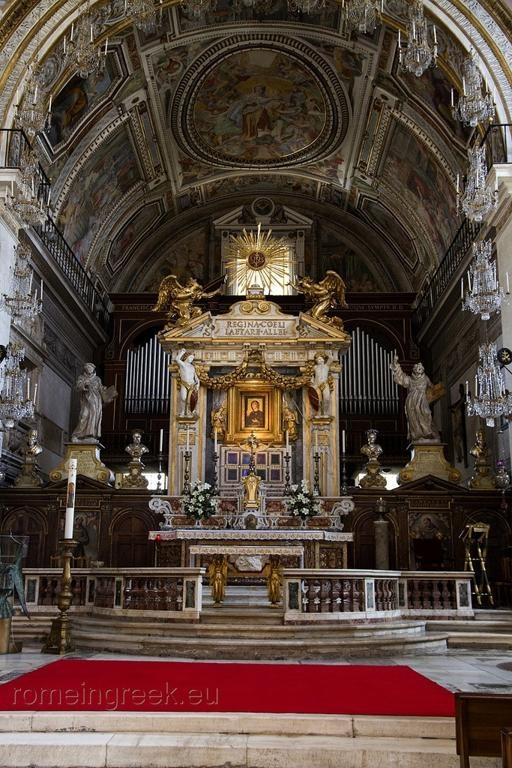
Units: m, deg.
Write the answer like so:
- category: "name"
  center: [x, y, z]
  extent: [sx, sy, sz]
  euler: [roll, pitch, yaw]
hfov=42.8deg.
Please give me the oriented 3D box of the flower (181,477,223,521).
- category: "flower"
  center: [-0.860, 1.802, 10.359]
  extent: [0.585, 0.613, 0.649]
  euler: [-1, -4, 1]

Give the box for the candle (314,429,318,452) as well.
- category: "candle"
  center: [1.119, 1.058, 12.252]
  extent: [0.071, 0.422, 0.022]
  euler: [0, -20, 5]

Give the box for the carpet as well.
- category: "carpet"
  center: [-0.189, 1.963, 4.275]
  extent: [2.769, 0.139, 1.983]
  euler: [0, -20, 3]

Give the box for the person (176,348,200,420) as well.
- category: "person"
  center: [-1.339, -0.080, 12.557]
  extent: [0.496, 1.405, 0.405]
  euler: [3, -20, -5]

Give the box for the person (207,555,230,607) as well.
- category: "person"
  center: [-0.518, 2.550, 8.600]
  extent: [0.221, 0.645, 0.722]
  euler: [3, -20, -4]

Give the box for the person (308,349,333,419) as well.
- category: "person"
  center: [1.230, -0.024, 12.531]
  extent: [0.444, 1.311, 0.291]
  euler: [0, -20, 4]

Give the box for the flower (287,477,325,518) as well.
- category: "flower"
  center: [0.764, 1.911, 10.386]
  extent: [0.550, 0.539, 0.629]
  euler: [4, -42, -4]
